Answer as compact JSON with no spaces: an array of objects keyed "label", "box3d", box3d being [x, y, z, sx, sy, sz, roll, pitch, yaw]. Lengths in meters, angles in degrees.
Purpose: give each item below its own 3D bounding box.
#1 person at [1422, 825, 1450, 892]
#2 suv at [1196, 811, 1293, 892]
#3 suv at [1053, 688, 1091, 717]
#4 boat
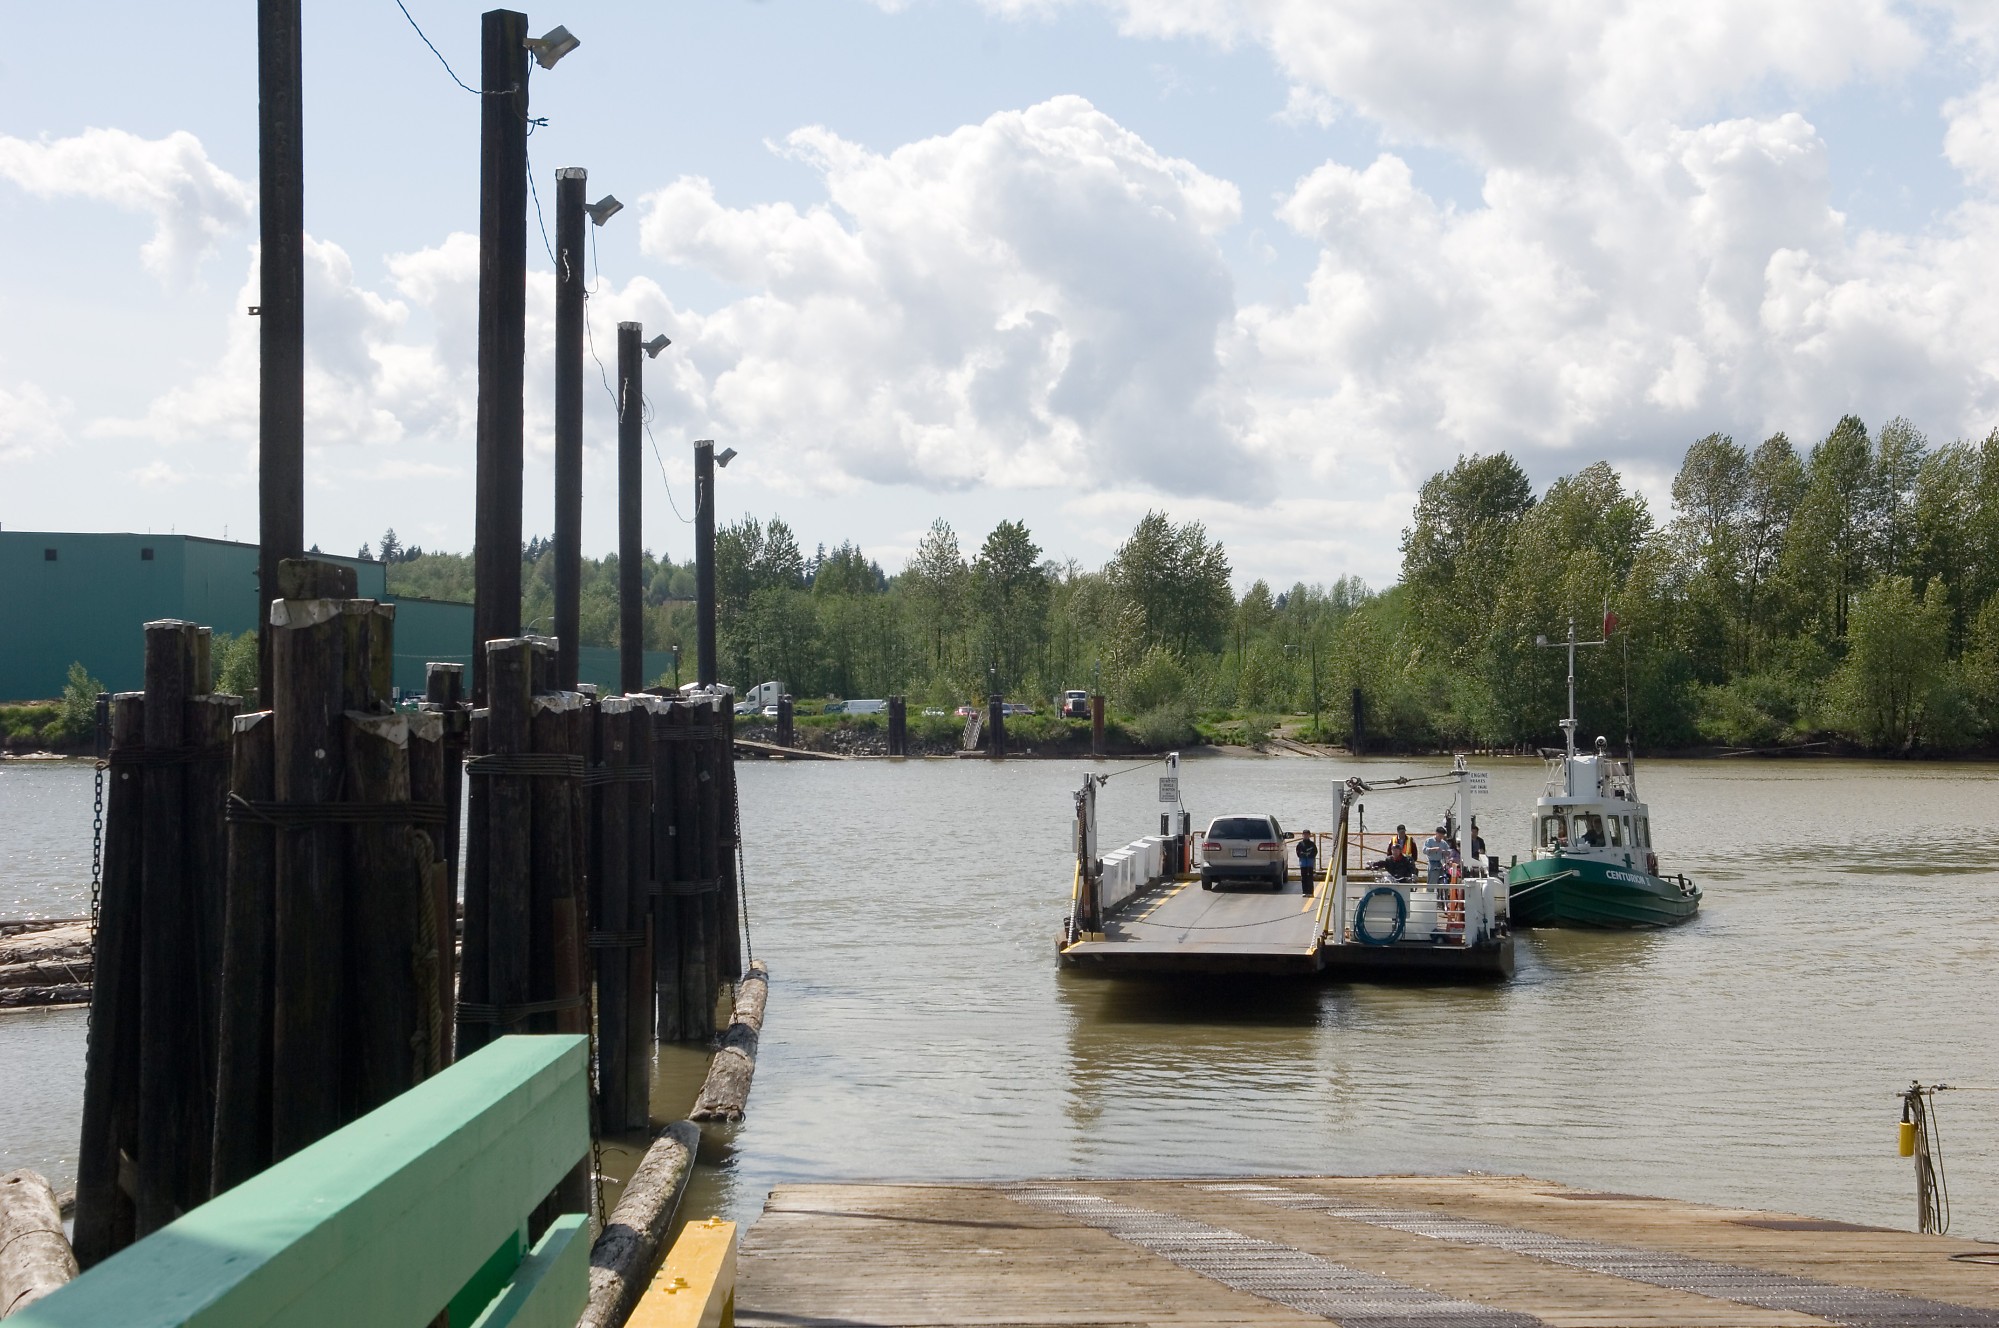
[{"label":"person","box3d":[8.518,3.821,45.446,0.371,1.071,1.473,0,-1,15]},{"label":"suv","box3d":[5.241,4.119,50.477,1.214,1.118,2.712,0,2,11]},{"label":"suv","box3d":[4.709,2.556,151.352,1.555,1.414,2.769,-1,-5,-2]},{"label":"boat","box3d":[13.037,3.547,51.586,4.079,4.515,2.131,0,0,-6]}]
